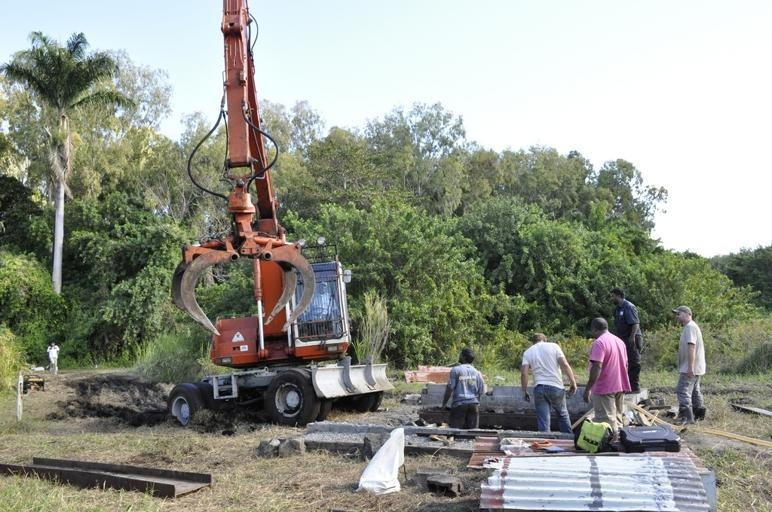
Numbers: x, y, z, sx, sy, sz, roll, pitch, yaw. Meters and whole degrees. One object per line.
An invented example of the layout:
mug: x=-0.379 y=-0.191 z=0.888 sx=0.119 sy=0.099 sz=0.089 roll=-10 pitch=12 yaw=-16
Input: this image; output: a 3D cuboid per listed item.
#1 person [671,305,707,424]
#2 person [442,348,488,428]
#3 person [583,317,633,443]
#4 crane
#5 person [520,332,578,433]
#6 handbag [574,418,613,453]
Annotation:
person: x=7.298 y=2.609 z=18.308 sx=0.668 sy=2.812 sz=1.115 roll=-3 pitch=-8 yaw=22
person: x=1.763 y=3.001 z=17.147 sx=0.893 sy=1.794 sz=0.576 roll=-1 pitch=-7 yaw=3
person: x=4.651 y=2.502 z=16.127 sx=0.758 sy=2.373 sz=1.030 roll=-5 pitch=-9 yaw=33
crane: x=-2.536 y=-0.667 z=18.642 sx=4.875 sy=9.621 sz=6.565 roll=0 pitch=-8 yaw=-2
person: x=3.598 y=2.833 z=16.976 sx=1.124 sy=2.183 sz=0.540 roll=-2 pitch=-8 yaw=9
handbag: x=3.971 y=3.430 z=14.498 sx=0.643 sy=0.678 sz=0.553 roll=4 pitch=-8 yaw=27
